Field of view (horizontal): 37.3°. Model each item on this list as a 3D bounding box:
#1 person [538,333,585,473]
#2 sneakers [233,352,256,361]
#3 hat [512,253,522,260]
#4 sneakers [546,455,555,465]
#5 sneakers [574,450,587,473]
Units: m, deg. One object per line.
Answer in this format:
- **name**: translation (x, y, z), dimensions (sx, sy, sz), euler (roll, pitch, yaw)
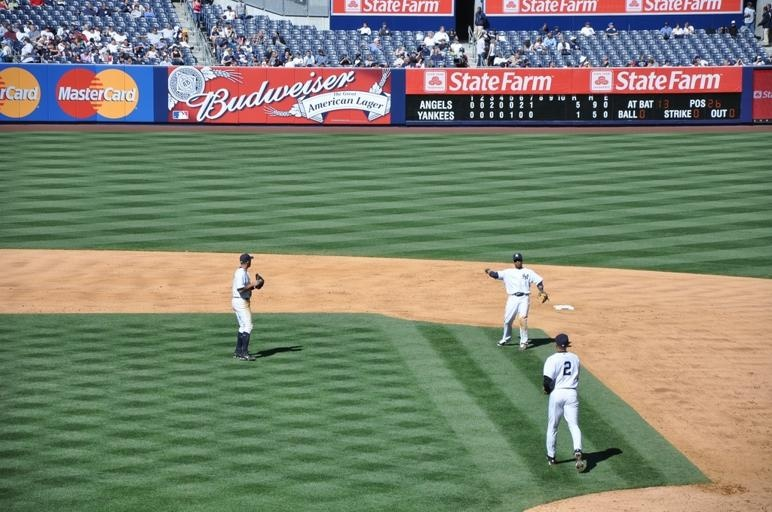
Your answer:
- **person**: translation (3.794, 3.112, 24.244), dimensions (0.889, 2.816, 1.015), euler (-1, 16, 6)
- **sneakers**: translation (-3.442, 2.453, 27.700), dimensions (0.588, 0.188, 0.175), euler (1, 7, -1)
- **hat**: translation (3.202, 0.029, 28.049), dimensions (0.239, 0.145, 0.353), euler (-1, -1, 11)
- **sneakers**: translation (3.504, 4.355, 24.302), dimensions (0.169, 0.150, 0.199), euler (0, 3, -4)
- **sneakers**: translation (4.139, 4.340, 24.220), dimensions (0.264, 0.479, 0.268), euler (-7, 14, -14)
